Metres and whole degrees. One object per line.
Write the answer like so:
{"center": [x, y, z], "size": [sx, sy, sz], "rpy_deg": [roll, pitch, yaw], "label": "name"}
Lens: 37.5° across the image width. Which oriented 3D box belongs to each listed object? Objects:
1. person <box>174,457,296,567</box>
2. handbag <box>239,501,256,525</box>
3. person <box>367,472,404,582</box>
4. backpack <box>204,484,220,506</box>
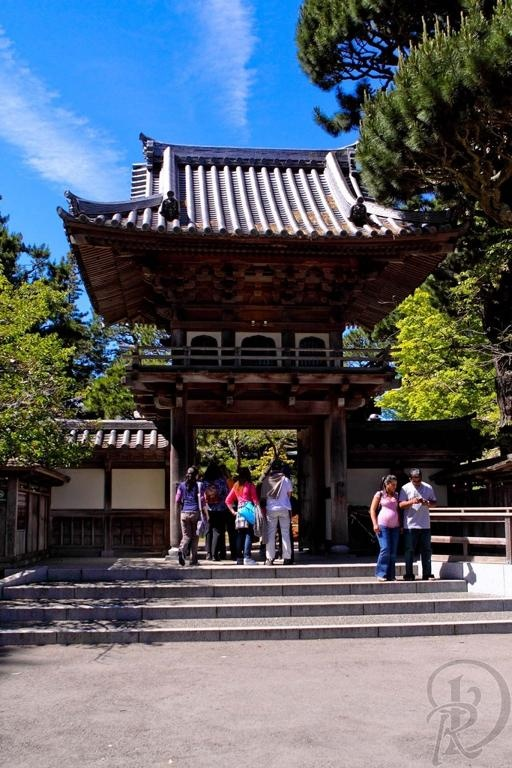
{"center": [0.073, 1.927, 11.247], "size": [0.863, 1.487, 1.103], "rpy_deg": [1, -6, -10], "label": "person"}
{"center": [-0.124, 1.883, 11.072], "size": [0.246, 0.276, 0.113], "rpy_deg": [-1, -12, -16], "label": "handbag"}
{"center": [1.700, 1.883, 9.901], "size": [0.375, 1.362, 0.729], "rpy_deg": [-1, -6, 10], "label": "person"}
{"center": [-0.712, 1.780, 12.050], "size": [0.335, 0.386, 0.286], "rpy_deg": [-1, -18, -3], "label": "backpack"}
